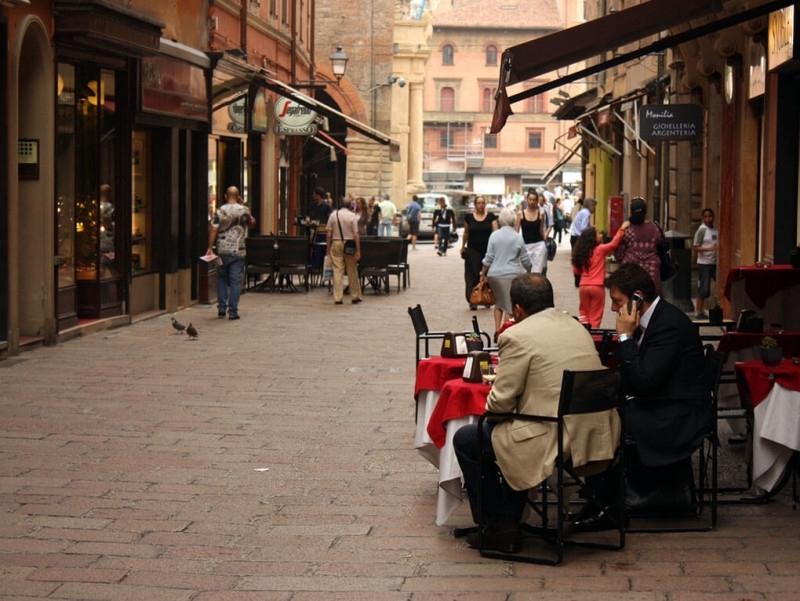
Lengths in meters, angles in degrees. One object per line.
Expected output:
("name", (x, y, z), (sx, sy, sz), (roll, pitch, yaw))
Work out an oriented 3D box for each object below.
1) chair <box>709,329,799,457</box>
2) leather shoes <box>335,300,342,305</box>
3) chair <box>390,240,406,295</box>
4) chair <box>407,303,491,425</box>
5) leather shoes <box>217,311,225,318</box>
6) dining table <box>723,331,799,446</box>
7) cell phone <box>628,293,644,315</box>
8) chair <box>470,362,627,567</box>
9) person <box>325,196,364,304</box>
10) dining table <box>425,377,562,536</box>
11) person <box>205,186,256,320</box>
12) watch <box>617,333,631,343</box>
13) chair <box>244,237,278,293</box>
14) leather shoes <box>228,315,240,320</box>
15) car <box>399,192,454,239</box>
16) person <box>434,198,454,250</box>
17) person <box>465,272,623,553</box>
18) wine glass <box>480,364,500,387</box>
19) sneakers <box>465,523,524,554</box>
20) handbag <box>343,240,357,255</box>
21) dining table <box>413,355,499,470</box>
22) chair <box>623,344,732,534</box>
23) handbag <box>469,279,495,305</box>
("chair", (3.219, 0.853, 9.731), (0.852, 1.121, 1.038), (1, 1, 0))
("leather shoes", (-1.174, 0.041, 20.118), (0.146, 0.092, 0.257), (1, 7, -7))
("chair", (-0.028, -0.767, 23.113), (0.440, 1.179, 1.532), (1, 7, -1))
("chair", (0.408, 0.434, 9.989), (0.825, 1.511, 0.692), (0, 4, 9))
("leather shoes", (-3.030, 0.250, 17.835), (0.101, 0.083, 0.081), (4, 11, 12))
("dining table", (3.215, 0.749, 9.577), (0.871, 1.060, 0.995), (0, 1, 2))
("cell phone", (1.799, 0.025, 8.023), (0.103, 0.154, 0.033), (17, -7, 45))
("chair", (1.133, 1.130, 7.556), (0.731, 1.434, 0.789), (-6, 8, -39))
("person", (-1.060, -0.938, 20.339), (0.682, 2.011, 0.689), (-2, 7, -26))
("dining table", (0.615, 1.090, 7.961), (0.848, 1.083, 1.026), (2, -3, -1))
("person", (-2.872, -0.786, 17.818), (0.629, 2.152, 0.900), (3, 6, 13))
("watch", (1.692, 0.289, 7.984), (0.055, 0.047, 0.055), (-10, 14, -39))
("chair", (-2.872, -0.847, 22.287), (0.733, 1.479, 1.017), (1, 6, 4))
("leather shoes", (-2.792, 0.292, 17.678), (0.164, 0.083, 0.065), (-7, 18, -15))
("car", (1.512, -4.180, 49.902), (1.777, 1.806, 3.278), (0, 17, 3))
("person", (1.527, -2.554, 36.820), (0.634, 1.974, 1.179), (1, 6, 2))
("person", (0.928, 0.820, 7.349), (1.096, 1.854, 0.565), (2, 6, 3))
("wine glass", (0.679, 0.569, 7.848), (0.119, 0.160, 0.132), (0, 0, -16))
("sneakers", (0.658, 1.634, 7.320), (0.370, 0.190, 0.147), (3, -2, 30))
("handbag", (-0.953, -0.978, 20.207), (0.245, 0.288, 0.219), (1, -4, -6))
("dining table", (0.396, 0.865, 8.008), (0.554, 0.624, 0.594), (3, 5, -15))
("chair", (2.057, 1.043, 8.123), (0.744, 1.377, 0.779), (-2, 1, 19))
("handbag", (1.272, -0.178, 16.103), (0.261, 0.638, 0.584), (-1, 7, -6))
